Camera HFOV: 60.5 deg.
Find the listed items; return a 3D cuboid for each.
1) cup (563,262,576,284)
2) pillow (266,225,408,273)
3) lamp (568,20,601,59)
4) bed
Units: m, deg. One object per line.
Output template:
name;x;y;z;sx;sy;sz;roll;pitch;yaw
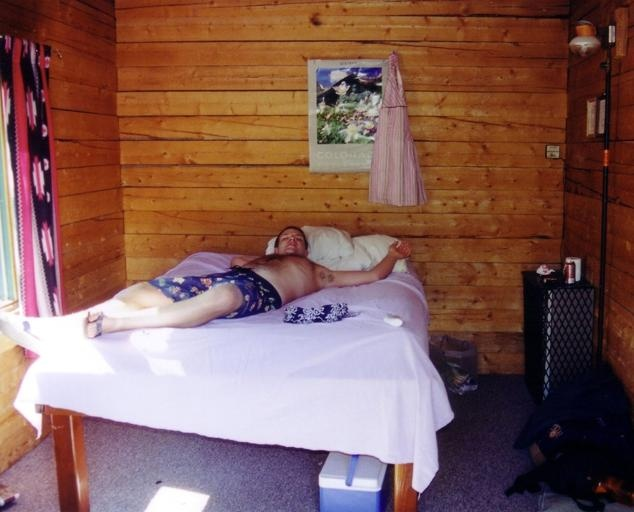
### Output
cup;1.505;0.099;3.199;0.061;0.125;0.092;4;13;15
pillow;0.196;-0.039;3.450;0.540;0.112;0.307;6;34;3
lamp;1.400;-1.135;2.874;0.154;0.182;0.106;-4;18;1
bed;-0.272;0.491;2.358;1.285;0.365;1.177;4;23;11
